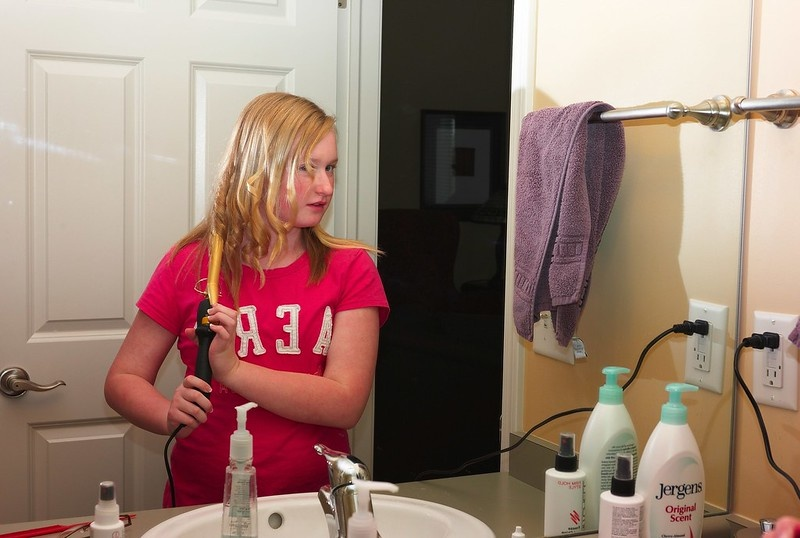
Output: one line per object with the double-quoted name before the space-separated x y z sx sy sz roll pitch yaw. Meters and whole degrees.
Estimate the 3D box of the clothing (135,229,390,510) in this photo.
"clothing" -0.341 0.236 1.604 0.601 0.617 0.320 1 7 -16

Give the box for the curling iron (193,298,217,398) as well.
"curling iron" -0.400 0.170 1.341 0.042 0.214 0.090 -3 6 -17

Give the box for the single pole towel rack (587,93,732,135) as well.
"single pole towel rack" 0.534 -0.308 1.376 0.084 0.083 0.293 -9 6 -35

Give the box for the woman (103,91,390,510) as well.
"woman" -0.358 0.083 1.455 0.662 0.969 0.339 -1 6 -1

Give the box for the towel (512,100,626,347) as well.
"towel" 0.370 -0.100 1.445 0.239 0.519 0.134 2 6 23
